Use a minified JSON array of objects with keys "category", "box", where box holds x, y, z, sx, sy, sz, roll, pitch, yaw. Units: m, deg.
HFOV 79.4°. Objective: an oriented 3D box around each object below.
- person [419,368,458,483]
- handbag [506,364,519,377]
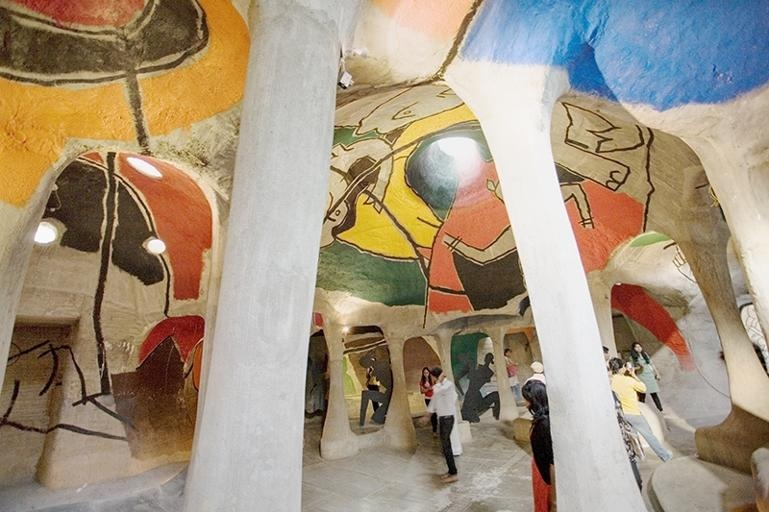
[{"category":"person","box":[1.005,2.752,7.610,0.468,1.892,0.683,-8,-6,6]},{"category":"handbag","box":[3.951,3.479,14.292,0.220,0.399,0.741,-9,-7,20]}]
